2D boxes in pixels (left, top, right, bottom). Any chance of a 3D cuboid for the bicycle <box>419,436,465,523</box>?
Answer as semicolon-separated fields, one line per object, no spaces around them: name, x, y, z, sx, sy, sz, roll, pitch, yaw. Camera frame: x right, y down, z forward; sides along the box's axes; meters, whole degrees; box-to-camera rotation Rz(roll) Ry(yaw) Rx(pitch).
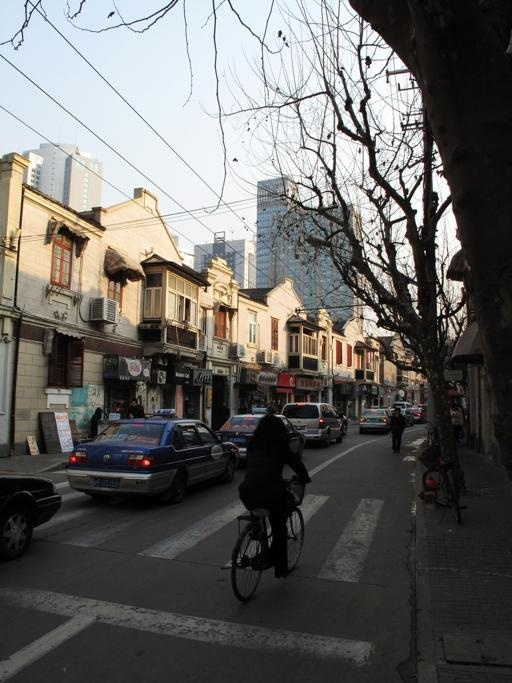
bicycle;2.797;2.018;8.883;0.367;0.696;1.087;-9;1;-5

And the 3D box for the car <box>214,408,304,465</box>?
car;-0.185;2.409;14.218;1.193;1.165;2.837;-2;-3;20

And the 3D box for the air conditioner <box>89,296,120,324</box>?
air conditioner;-5.219;-1.038;20.350;0.587;0.865;0.899;-5;-6;19

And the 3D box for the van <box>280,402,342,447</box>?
van;2.339;3.009;22.086;1.143;1.099;2.620;-2;-3;22

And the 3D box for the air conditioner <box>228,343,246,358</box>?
air conditioner;-0.968;0.621;32.019;0.542;0.873;1.108;-1;-9;10

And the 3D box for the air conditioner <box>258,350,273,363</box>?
air conditioner;0.555;1.008;35.621;0.560;0.857;1.130;-2;-2;11

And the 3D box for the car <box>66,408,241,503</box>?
car;-1.524;1.778;10.202;1.303;1.070;3.068;-1;-5;21

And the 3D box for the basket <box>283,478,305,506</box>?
basket;0.390;1.465;5.760;0.244;0.269;0.422;-4;-15;8

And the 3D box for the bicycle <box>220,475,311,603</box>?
bicycle;0.204;1.908;5.388;0.518;0.808;1.321;-3;-23;17

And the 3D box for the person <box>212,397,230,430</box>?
person;-1.785;3.700;28.860;0.892;0.911;1.732;1;8;13

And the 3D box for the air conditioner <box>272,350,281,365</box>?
air conditioner;1.356;1.083;38.071;0.362;0.783;0.762;-3;-8;22

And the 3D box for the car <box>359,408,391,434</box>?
car;6.469;4.421;32.192;1.517;1.282;1.727;-5;-6;14
